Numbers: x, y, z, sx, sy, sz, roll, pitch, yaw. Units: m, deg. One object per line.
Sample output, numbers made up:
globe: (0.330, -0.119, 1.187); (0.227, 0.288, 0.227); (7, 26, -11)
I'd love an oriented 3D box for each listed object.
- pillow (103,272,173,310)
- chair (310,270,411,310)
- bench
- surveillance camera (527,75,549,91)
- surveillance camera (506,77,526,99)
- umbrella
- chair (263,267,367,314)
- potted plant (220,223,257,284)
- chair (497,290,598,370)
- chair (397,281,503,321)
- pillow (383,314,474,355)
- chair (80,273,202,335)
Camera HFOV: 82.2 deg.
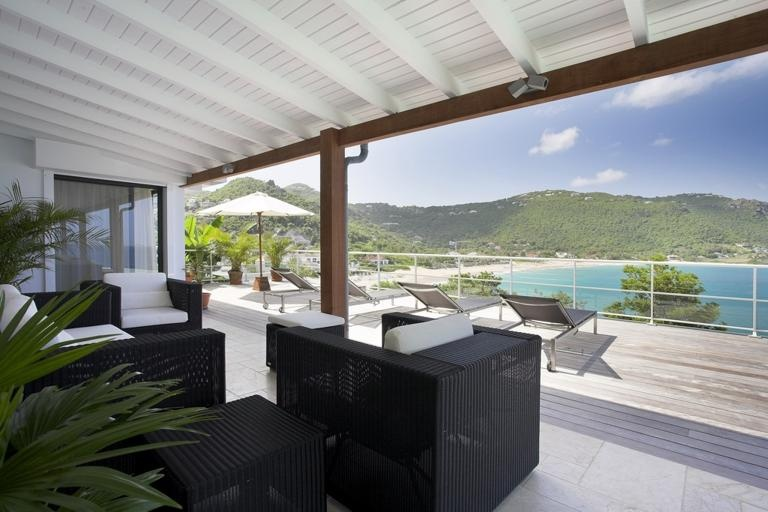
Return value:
pillow: (-3.337, 0.442, 5.923); (0.931, 0.578, 0.462); (1, -3, -40)
chair: (-0.171, 0.685, 7.862); (1.343, 0.531, 0.781); (-6, 5, -44)
bench: (-1.902, 0.719, 3.378); (1.510, 0.906, 1.512); (-1, 2, -38)
surveillance camera: (1.427, -1.602, 4.093); (0.183, 0.132, 0.140); (-1, -1, 18)
surveillance camera: (1.263, -1.585, 4.154); (0.166, 0.150, 0.087); (-1, -1, 18)
umbrella: (-3.261, -0.787, 11.538); (2.408, 1.607, 2.477); (5, 9, 15)
chair: (-1.317, 0.683, 8.572); (1.863, 0.633, 0.937); (-2, 4, -34)
potted plant: (-4.551, 0.103, 13.580); (1.436, 1.409, 1.099); (-4, -6, -6)
chair: (1.961, 0.778, 5.397); (0.733, 0.767, 1.492); (4, 10, 45)
chair: (1.113, 0.526, 6.375); (1.416, 0.624, 0.651); (-4, 4, -43)
pillow: (0.296, 0.522, 2.884); (0.703, 0.197, 0.172); (-11, 8, 40)
chair: (-3.156, 0.626, 5.759); (1.260, 0.690, 1.292); (7, 6, 27)
